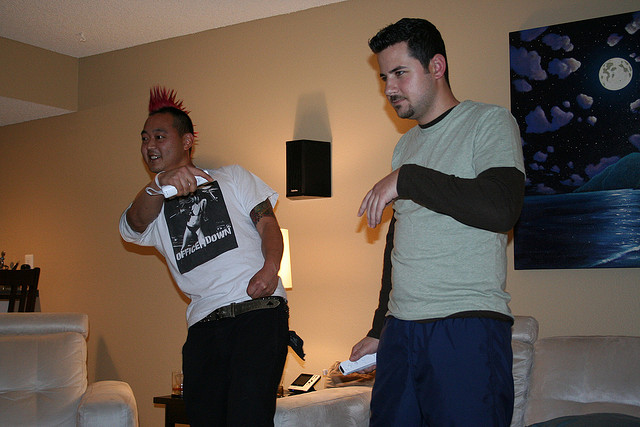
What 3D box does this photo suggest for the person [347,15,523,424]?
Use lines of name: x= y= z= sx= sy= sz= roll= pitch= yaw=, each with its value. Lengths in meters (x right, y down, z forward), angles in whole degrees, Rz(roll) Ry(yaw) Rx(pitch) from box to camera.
person: x=0.375 y=0.016 z=1.749 sx=0.654 sy=1.481 sz=0.339 roll=-1 pitch=-2 yaw=31

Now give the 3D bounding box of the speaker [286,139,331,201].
speaker: x=-0.090 y=-0.329 z=3.792 sx=0.305 sy=0.430 sz=0.240 roll=-2 pitch=3 yaw=-43

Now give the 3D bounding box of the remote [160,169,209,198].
remote: x=-0.572 y=-0.141 z=2.047 sx=0.146 sy=0.034 sz=0.102 roll=-23 pitch=30 yaw=-26

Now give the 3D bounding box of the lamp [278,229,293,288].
lamp: x=-0.251 y=0.326 z=3.565 sx=0.078 sy=0.423 sz=0.227 roll=0 pitch=-2 yaw=-5
